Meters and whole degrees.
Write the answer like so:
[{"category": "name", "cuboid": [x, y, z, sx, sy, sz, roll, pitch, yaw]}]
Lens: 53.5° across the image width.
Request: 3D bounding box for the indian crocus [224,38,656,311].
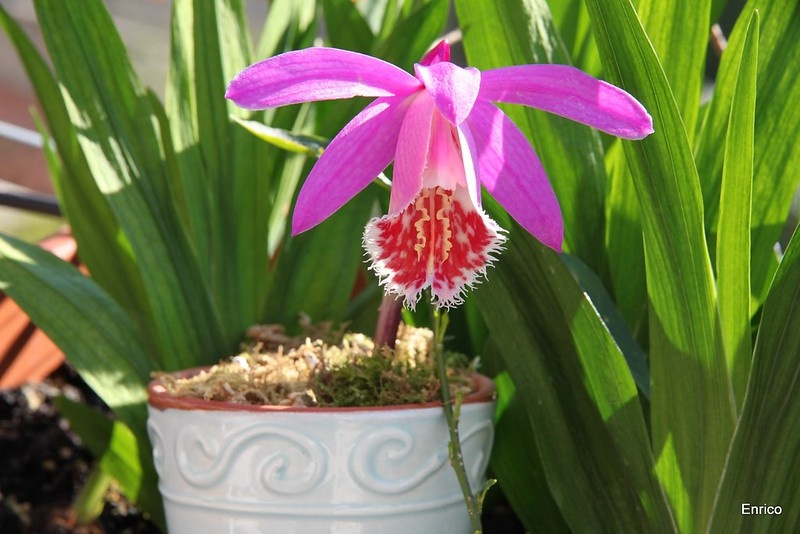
[{"category": "indian crocus", "cuboid": [0.046, -0.137, 0.992, 0.287, 0.529, 0.378, 1, 1, -5]}]
